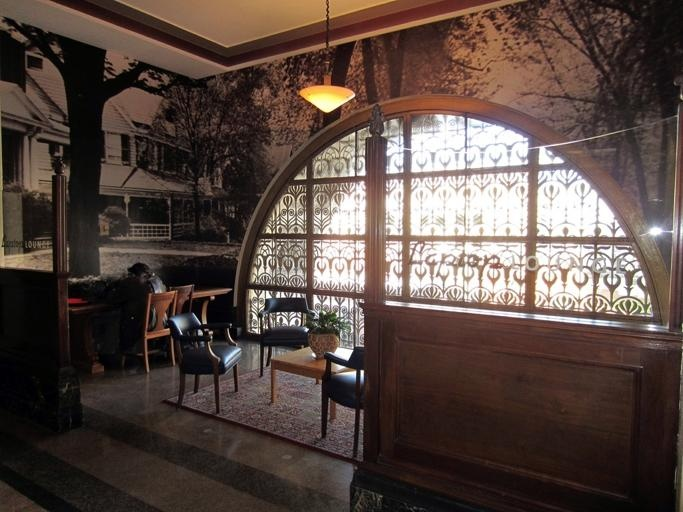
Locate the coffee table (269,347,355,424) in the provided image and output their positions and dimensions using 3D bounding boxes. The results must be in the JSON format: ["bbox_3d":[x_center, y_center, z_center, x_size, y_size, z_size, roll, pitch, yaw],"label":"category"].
[{"bbox_3d":[-0.417,1.462,5.531,1.058,0.500,1.037,21,-15,-34],"label":"coffee table"}]

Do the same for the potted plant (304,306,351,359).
[{"bbox_3d":[-0.198,0.847,5.552,0.447,0.486,0.430,-11,-17,35],"label":"potted plant"}]

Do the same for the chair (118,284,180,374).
[{"bbox_3d":[-2.553,0.962,6.736,0.570,1.003,0.544,3,2,27],"label":"chair"}]

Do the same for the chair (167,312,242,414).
[{"bbox_3d":[-1.536,1.154,5.679,0.677,0.951,0.762,0,3,1],"label":"chair"}]
